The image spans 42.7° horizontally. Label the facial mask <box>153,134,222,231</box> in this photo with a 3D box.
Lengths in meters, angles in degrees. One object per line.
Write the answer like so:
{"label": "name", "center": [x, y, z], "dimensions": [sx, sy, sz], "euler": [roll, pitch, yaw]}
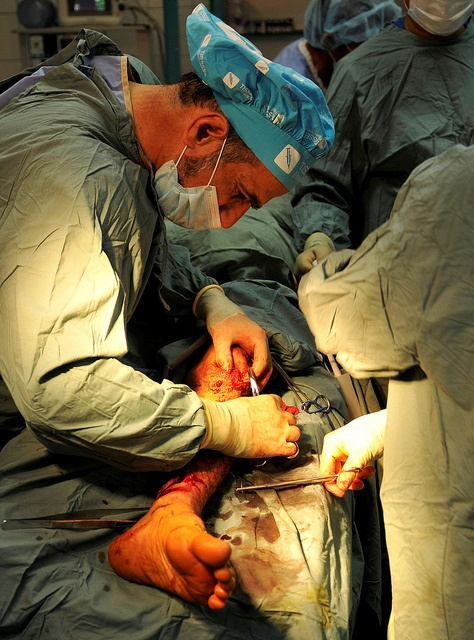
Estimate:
{"label": "facial mask", "center": [-0.130, -0.342, 1.600], "dimensions": [0.155, 0.172, 0.155], "euler": [-17, 28, -39]}
